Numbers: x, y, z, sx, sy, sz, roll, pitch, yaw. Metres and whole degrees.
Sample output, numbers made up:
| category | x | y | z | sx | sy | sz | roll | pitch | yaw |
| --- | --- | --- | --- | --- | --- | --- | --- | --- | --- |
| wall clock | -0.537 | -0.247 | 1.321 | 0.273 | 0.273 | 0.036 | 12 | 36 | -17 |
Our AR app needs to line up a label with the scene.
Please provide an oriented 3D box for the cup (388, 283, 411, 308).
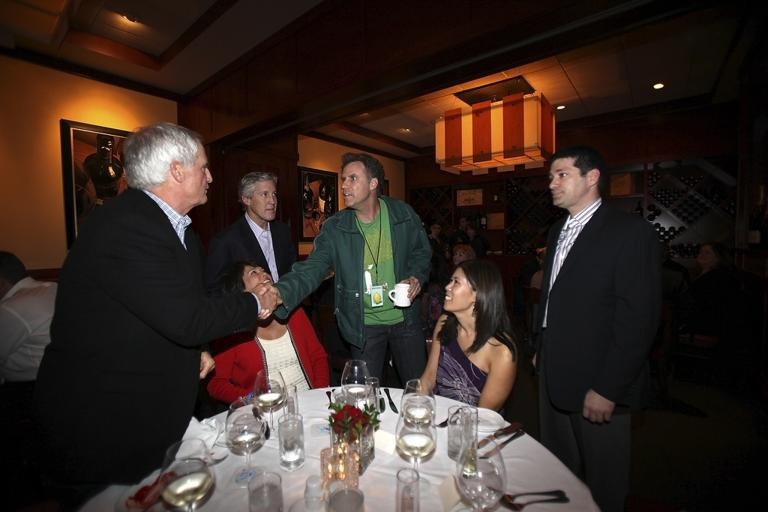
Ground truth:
| category | x | y | z | sx | sy | sz | roll | pitch | yaw |
| --- | --- | --- | --- | --- | --- | --- | --- | --- | --- |
| cup | 0.116 | 0.299 | 3.666 | 0.211 | 0.205 | 0.134 | -3 | 8 | -20 |

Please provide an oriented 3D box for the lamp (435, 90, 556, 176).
| category | x | y | z | sx | sy | sz | roll | pitch | yaw |
| --- | --- | --- | --- | --- | --- | --- | --- | --- | --- |
| lamp | 1.486 | -1.409 | 5.676 | 1.372 | 0.872 | 0.723 | -3 | -1 | 36 |

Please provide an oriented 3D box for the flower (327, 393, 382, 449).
| category | x | y | z | sx | sy | sz | roll | pitch | yaw |
| --- | --- | --- | --- | --- | --- | --- | --- | --- | --- |
| flower | -0.176 | 0.918 | 2.674 | 0.232 | 0.183 | 0.238 | 1 | -2 | 19 |
